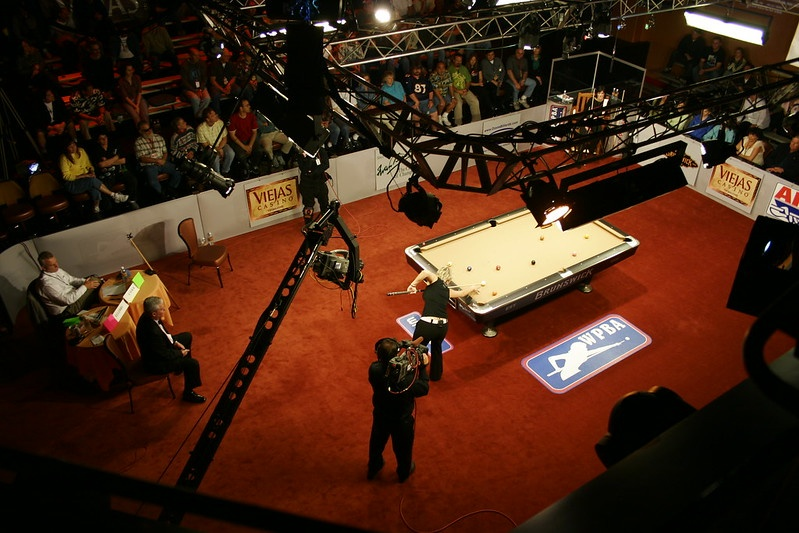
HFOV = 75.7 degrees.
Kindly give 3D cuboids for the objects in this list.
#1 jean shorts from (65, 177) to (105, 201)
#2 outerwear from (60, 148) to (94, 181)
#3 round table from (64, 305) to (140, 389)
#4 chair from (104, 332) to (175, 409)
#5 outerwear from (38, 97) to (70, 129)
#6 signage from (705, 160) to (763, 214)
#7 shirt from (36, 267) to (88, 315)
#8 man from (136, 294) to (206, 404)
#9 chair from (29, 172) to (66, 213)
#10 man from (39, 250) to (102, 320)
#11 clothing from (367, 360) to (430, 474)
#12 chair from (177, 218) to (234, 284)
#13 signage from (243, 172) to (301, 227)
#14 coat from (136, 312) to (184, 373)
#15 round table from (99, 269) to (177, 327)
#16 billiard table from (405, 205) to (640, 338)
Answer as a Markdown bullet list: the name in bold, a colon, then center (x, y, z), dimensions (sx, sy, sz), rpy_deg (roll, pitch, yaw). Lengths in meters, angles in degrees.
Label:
- **jean shorts**: center (-6.270, -1.593, 10.271), dimensions (0.612, 0.362, 0.274), rpy_deg (12, 6, -32)
- **outerwear**: center (-6.461, -2.029, 10.241), dimensions (0.306, 0.509, 0.545), rpy_deg (32, 42, 25)
- **round table**: center (-4.606, 1.111, 8.362), dimensions (0.777, 0.743, 0.795), rpy_deg (-1, 43, 1)
- **chair**: center (-4.070, 1.657, 8.259), dimensions (0.833, 0.863, 1.183), rpy_deg (-2, 53, -46)
- **outerwear**: center (-7.195, -3.181, 10.651), dimensions (0.303, 0.550, 0.578), rpy_deg (30, 34, 20)
- **signage**: center (7.737, -1.837, 11.794), dimensions (0.116, 0.766, 1.070), rpy_deg (-24, 47, -22)
- **shirt**: center (-5.541, 0.382, 8.660), dimensions (0.783, 0.577, 0.624), rpy_deg (-9, 56, -15)
- **man**: center (-3.521, 1.292, 8.059), dimensions (0.961, 1.668, 0.996), rpy_deg (15, 18, 22)
- **chair**: center (-6.946, -1.448, 10.160), dimensions (0.717, 0.633, 0.575), rpy_deg (28, 42, 33)
- **man**: center (-5.684, 0.338, 8.812), dimensions (0.655, 0.932, 0.418), rpy_deg (-32, 77, -14)
- **clothing**: center (-0.007, 1.956, 6.899), dimensions (0.721, 1.971, 0.604), rpy_deg (11, 24, 22)
- **chair**: center (-3.811, -0.328, 10.136), dimensions (0.835, 1.132, 0.679), rpy_deg (4, 31, -5)
- **signage**: center (-2.927, -1.551, 11.542), dimensions (1.230, 0.842, 0.018), rpy_deg (-24, 43, -31)
- **coat**: center (-3.680, 1.185, 7.828), dimensions (0.529, 0.910, 0.444), rpy_deg (-25, 59, -31)
- **round table**: center (-4.481, 0.564, 8.642), dimensions (1.115, 0.583, 1.043), rpy_deg (3, 48, -3)
- **billiard table**: center (2.343, 0.069, 10.159), dimensions (4.118, 1.115, 2.356), rpy_deg (-19, 37, -28)
